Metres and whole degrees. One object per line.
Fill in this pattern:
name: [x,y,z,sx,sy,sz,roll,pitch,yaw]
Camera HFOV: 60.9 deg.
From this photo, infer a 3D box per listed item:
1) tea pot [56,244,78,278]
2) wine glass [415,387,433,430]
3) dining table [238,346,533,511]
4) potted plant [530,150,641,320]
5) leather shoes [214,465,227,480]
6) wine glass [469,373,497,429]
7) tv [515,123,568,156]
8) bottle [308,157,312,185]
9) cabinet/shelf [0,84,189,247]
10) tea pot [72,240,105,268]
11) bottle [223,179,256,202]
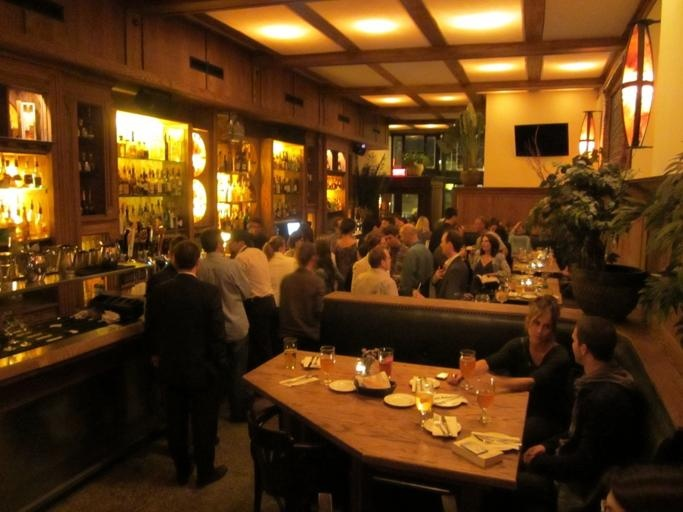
tea pot: [-2.216,0.044,4.664,0.138,0.209,0.237,-4,15,-22]
wine glass: [0.526,0.895,3.668,0.096,0.265,0.282,4,14,11]
dining table: [0.328,1.250,3.941,1.898,0.631,1.151,13,18,37]
potted plant: [2.086,-0.134,4.858,0.893,1.386,0.952,-6,-8,35]
leather shoes: [-0.990,1.744,4.702,0.044,0.080,0.113,8,22,10]
wine glass: [0.886,0.904,3.625,0.111,0.209,0.128,2,0,-16]
tv: [3.925,-2.275,11.442,1.032,0.683,0.313,5,14,12]
bottle: [-0.633,-1.663,11.370,0.052,0.496,0.248,5,14,15]
cabinet/shelf: [-2.685,-0.975,6.187,0.307,1.211,1.958,1,2,14]
tea pot: [-2.243,-0.016,5.116,0.204,0.170,0.351,4,8,28]
bottle: [-1.661,-1.042,9.308,0.126,0.376,0.713,9,16,29]
